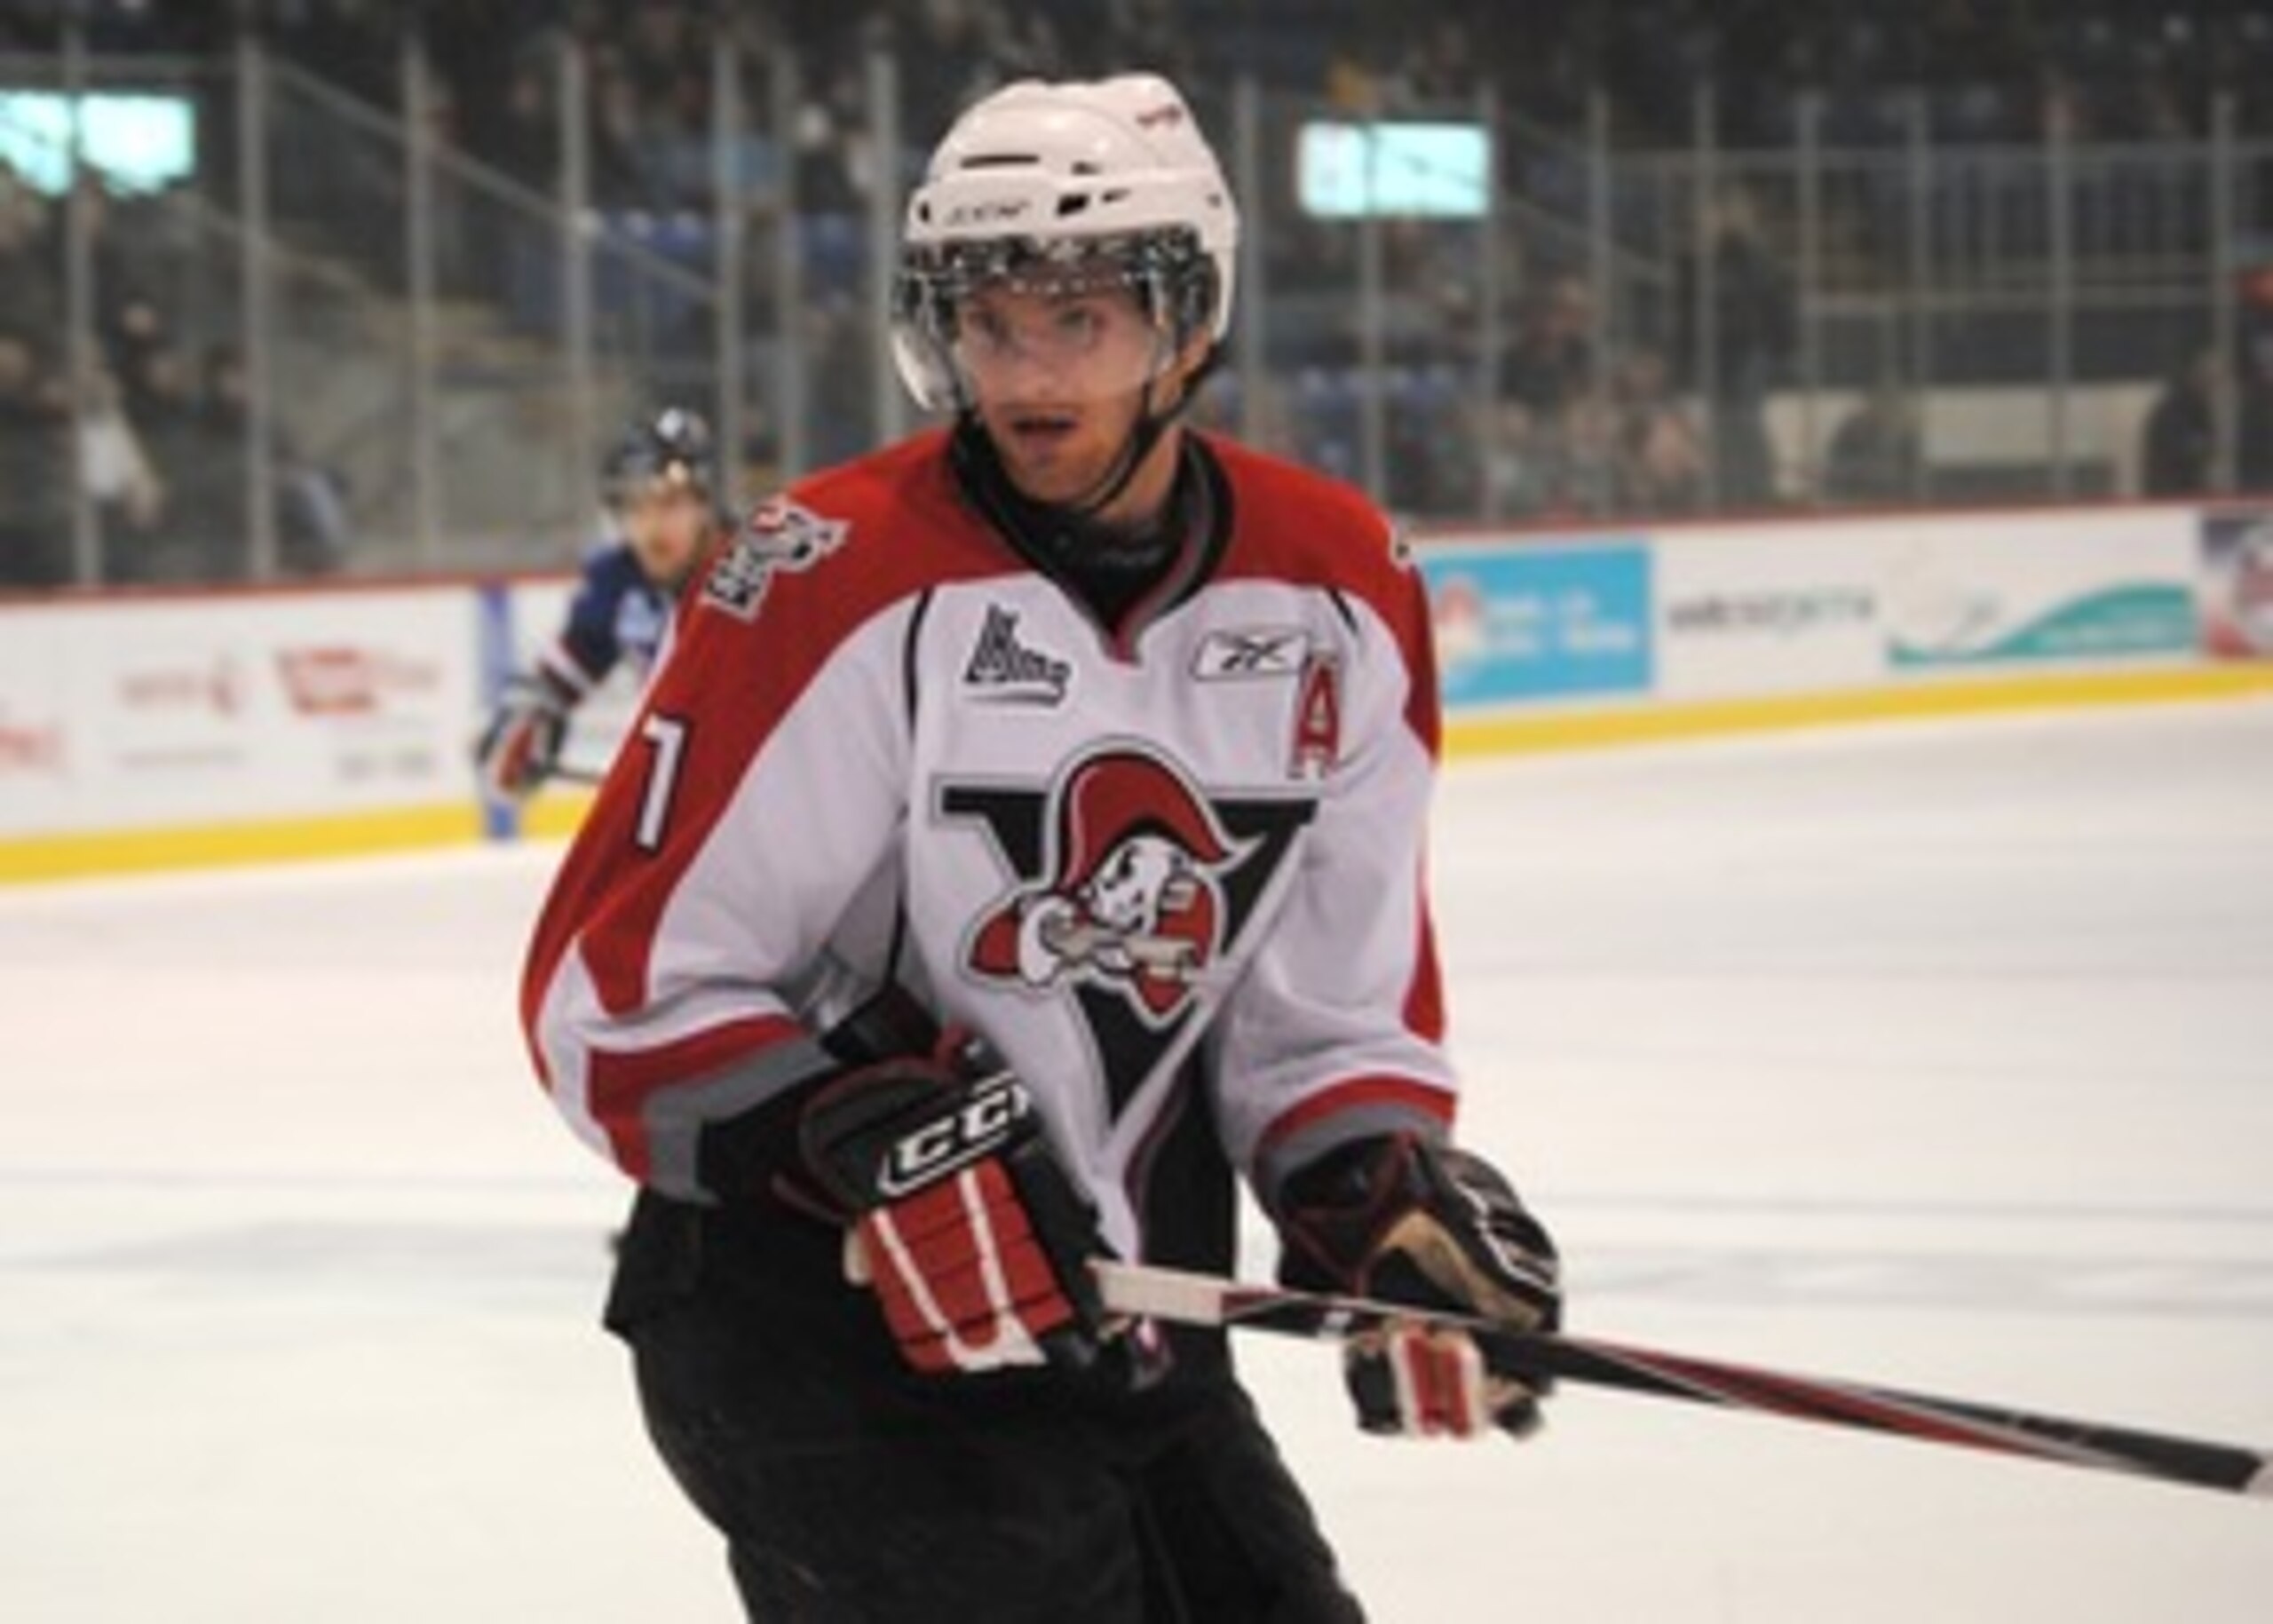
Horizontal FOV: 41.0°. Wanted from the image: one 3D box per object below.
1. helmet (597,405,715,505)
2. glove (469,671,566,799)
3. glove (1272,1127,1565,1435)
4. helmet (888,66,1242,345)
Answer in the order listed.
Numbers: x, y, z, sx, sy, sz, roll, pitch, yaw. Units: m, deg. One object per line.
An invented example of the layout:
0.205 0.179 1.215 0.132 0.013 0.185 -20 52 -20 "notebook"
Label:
-1.253 -0.916 7.875 0.473 0.210 0.534 -1 8 -4 "helmet"
-1.718 -0.215 8.351 0.248 0.320 0.098 34 -12 -28 "glove"
0.389 0.563 3.918 0.321 0.414 0.201 10 -7 0 "glove"
-0.084 -0.780 4.033 0.349 0.332 0.397 -2 -5 18 "helmet"
